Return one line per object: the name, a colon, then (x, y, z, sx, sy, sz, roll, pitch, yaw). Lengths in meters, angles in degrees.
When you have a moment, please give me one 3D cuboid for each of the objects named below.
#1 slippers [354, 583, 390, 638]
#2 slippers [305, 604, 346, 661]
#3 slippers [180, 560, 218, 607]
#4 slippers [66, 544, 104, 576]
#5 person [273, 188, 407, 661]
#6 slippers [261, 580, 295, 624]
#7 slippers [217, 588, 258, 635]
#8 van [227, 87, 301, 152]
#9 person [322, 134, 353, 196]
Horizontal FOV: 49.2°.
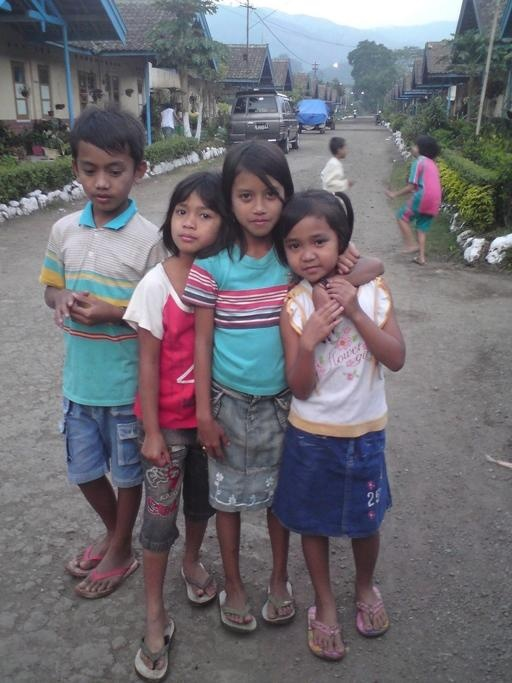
slippers: (0.380, 0.870, 1.835, 0.091, 0.054, 0.245, -5, 10, 11)
slippers: (0.210, 0.890, 1.742, 0.091, 0.057, 0.250, 10, 7, -8)
slippers: (-0.198, 0.831, 1.961, 0.109, 0.054, 0.223, -4, 14, -15)
slippers: (-0.624, 0.806, 2.036, 0.072, 0.037, 0.139, 6, 9, 19)
person: (0.238, 0.281, 1.669, 0.368, 1.377, 0.554, 0, 23, 3)
slippers: (0.077, 0.866, 1.879, 0.105, 0.049, 0.212, 4, 11, 4)
slippers: (-0.071, 0.858, 1.827, 0.102, 0.037, 0.211, -3, 24, -17)
van: (-0.049, -8.646, 19.550, 1.995, 1.985, 4.060, -2, 50, -4)
person: (1.252, -2.712, 8.653, 0.512, 0.832, 0.580, 0, 34, -1)
